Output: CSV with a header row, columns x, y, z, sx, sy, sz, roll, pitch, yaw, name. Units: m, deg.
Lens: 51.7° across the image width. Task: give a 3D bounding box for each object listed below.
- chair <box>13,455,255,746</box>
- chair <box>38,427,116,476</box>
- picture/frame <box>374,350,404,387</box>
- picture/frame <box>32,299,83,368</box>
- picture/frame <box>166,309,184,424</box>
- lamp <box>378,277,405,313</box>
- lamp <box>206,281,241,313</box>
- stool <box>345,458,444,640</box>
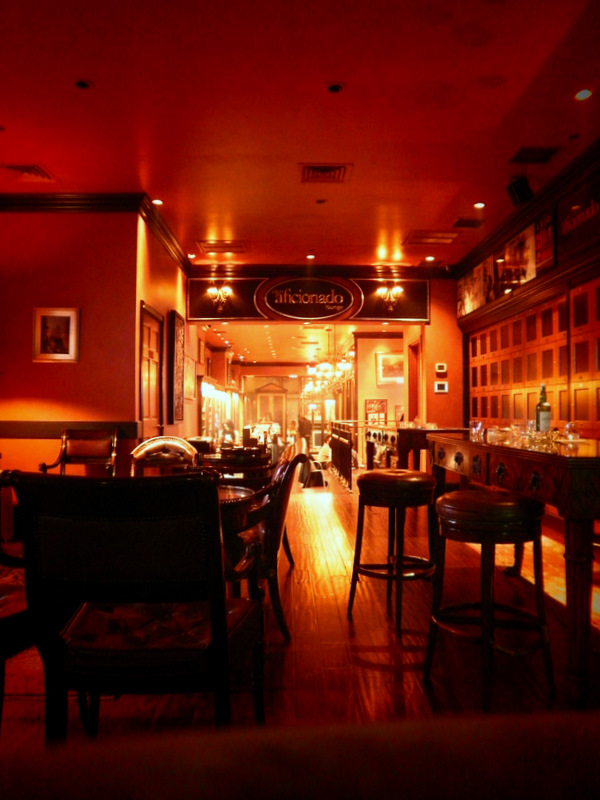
x,y,z,sx,sy,sz,roll,pitch,yaw,name
-0.381,0.509,1.500,0.464,0.801,0.570,-1,-3,1,chair
-1.932,0.428,5.490,0.447,0.652,0.452,0,-6,-2,chair
1.948,-0.722,13.474,0.737,0.820,0.055,1,4,4,picture/frame
-2.269,-0.601,5.742,0.570,0.834,0.077,0,-3,-9,picture/frame
-1.574,-0.380,7.773,0.193,1.369,0.954,0,-2,-11,picture/frame
1.212,-1.393,8.256,0.416,0.441,0.103,1,-2,-19,lamp
-1.004,-1.374,8.231,0.391,0.417,0.134,0,-3,1,lamp
0.472,0.698,3.066,0.392,0.701,0.386,-1,-4,32,stool
